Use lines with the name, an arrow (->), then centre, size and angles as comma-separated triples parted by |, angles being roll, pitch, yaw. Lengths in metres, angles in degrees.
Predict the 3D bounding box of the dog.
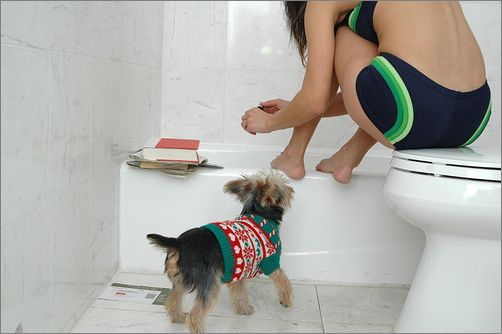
dog -> -0.057, 0.248, 1.587 | 0.662, 0.569, 0.341 | -8, 6, -37
